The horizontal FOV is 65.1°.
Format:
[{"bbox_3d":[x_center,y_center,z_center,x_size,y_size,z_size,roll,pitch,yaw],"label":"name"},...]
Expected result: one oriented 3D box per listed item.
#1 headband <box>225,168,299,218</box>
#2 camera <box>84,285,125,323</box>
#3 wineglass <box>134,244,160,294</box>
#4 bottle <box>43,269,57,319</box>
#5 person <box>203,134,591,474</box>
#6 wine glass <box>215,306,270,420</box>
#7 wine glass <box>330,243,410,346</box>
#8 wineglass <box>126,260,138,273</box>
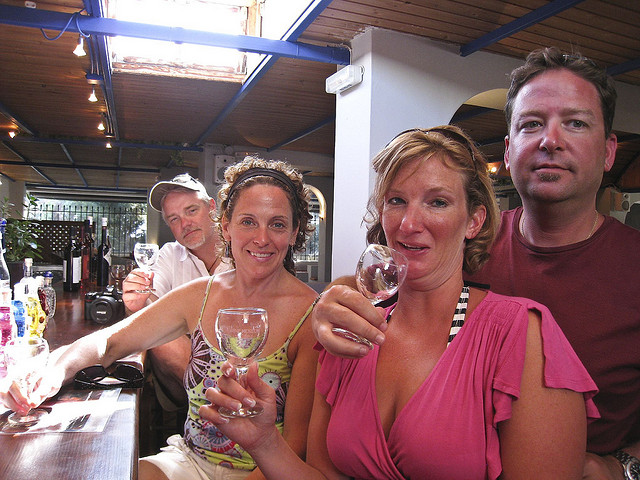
[{"bbox_3d":[-0.278,-0.277,2.427,0.329,0.145,0.081,0,-2,-3],"label":"headband"},{"bbox_3d":[-1.477,0.436,3.427,0.263,0.173,0.281,2,-1,-10],"label":"camera"},{"bbox_3d":[-1.188,0.189,3.417,0.151,0.335,0.454,0,-2,-19],"label":"wineglass"},{"bbox_3d":[-1.850,0.367,3.417,0.107,0.305,0.103,2,-3,0],"label":"bottle"},{"bbox_3d":[0.337,0.232,1.852,1.199,1.282,0.416,-1,-2,5],"label":"person"},{"bbox_3d":[-0.273,0.440,1.789,0.179,0.384,0.213,-1,-2,24],"label":"wine glass"},{"bbox_3d":[0.223,0.184,1.790,0.194,0.342,0.384,-2,-3,38],"label":"wine glass"},{"bbox_3d":[-1.347,0.185,3.565,0.079,0.073,0.077,-3,7,-40],"label":"wineglass"}]
